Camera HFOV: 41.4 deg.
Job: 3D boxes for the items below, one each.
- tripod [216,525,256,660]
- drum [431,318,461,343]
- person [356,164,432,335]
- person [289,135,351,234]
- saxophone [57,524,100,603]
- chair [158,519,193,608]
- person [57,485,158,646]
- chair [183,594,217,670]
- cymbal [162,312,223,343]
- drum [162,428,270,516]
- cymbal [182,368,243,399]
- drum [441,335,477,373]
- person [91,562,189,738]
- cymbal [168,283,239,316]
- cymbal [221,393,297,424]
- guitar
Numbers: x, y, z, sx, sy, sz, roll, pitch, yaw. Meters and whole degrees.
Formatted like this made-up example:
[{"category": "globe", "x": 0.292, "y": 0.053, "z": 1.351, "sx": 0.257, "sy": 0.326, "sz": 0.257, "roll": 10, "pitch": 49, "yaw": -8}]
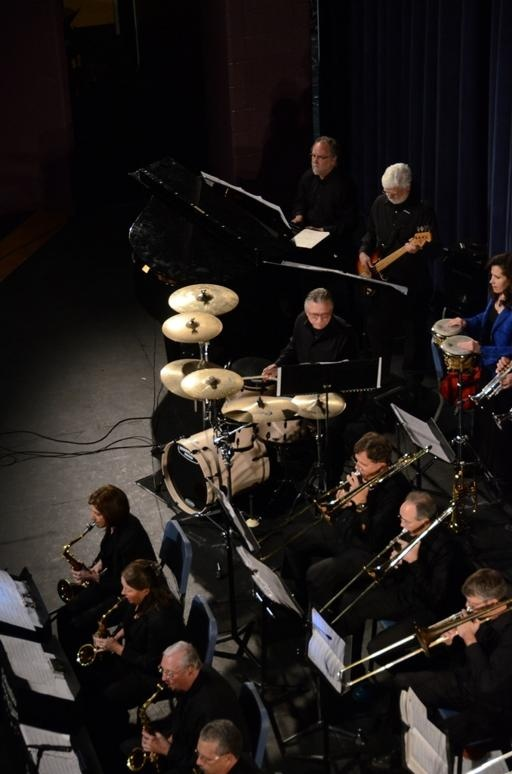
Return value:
[{"category": "tripod", "x": -0.116, "y": 1.190, "z": 3.946, "sx": 0.254, "sy": 0.696, "sz": 0.323, "roll": -6, "pitch": 25, "yaw": -19}, {"category": "drum", "x": 1.485, "y": -0.467, "z": 5.340, "sx": 0.196, "sy": 0.195, "sz": 0.200, "roll": 21, "pitch": 43, "yaw": 36}, {"category": "person", "x": 1.283, "y": -1.239, "z": 6.121, "sx": 0.653, "sy": 1.775, "sz": 0.563, "roll": -2, "pitch": 11, "yaw": -7}, {"category": "person", "x": 0.662, "y": -2.091, "z": 7.045, "sx": 0.680, "sy": 1.018, "sz": 0.532, "roll": 30, "pitch": 51, "yaw": 30}, {"category": "saxophone", "x": -1.123, "y": 1.176, "z": 4.349, "sx": 0.271, "sy": 0.546, "sz": 0.308, "roll": 4, "pitch": 9, "yaw": -33}, {"category": "chair", "x": -0.407, "y": 1.058, "z": 3.991, "sx": 0.218, "sy": 0.460, "sz": 0.269, "roll": -9, "pitch": 25, "yaw": -22}, {"category": "person", "x": -0.951, "y": 1.193, "z": 4.122, "sx": 0.684, "sy": 1.190, "sz": 0.399, "roll": -8, "pitch": 11, "yaw": -26}, {"category": "chair", "x": -0.264, "y": 1.187, "z": 3.299, "sx": 0.197, "sy": 0.330, "sz": 0.232, "roll": -4, "pitch": 24, "yaw": -12}, {"category": "cymbal", "x": -0.490, "y": -0.423, "z": 5.289, "sx": 0.439, "sy": 0.275, "sz": 0.321, "roll": -10, "pitch": 19, "yaw": -8}, {"category": "drum", "x": -0.326, "y": 0.539, "z": 5.012, "sx": 0.767, "sy": 0.679, "sz": 0.643, "roll": -13, "pitch": 23, "yaw": -38}, {"category": "cymbal", "x": -0.287, "y": -0.022, "z": 4.528, "sx": 0.264, "sy": 0.056, "sz": 0.254, "roll": -19, "pitch": 43, "yaw": -23}, {"category": "drum", "x": 1.497, "y": -0.249, "z": 5.116, "sx": 0.246, "sy": 0.267, "sz": 0.263, "roll": -14, "pitch": 40, "yaw": 1}, {"category": "person", "x": -0.621, "y": 1.290, "z": 3.557, "sx": 0.443, "sy": 0.823, "sz": 0.511, "roll": -11, "pitch": 26, "yaw": -29}, {"category": "cymbal", "x": -0.429, "y": -0.716, "z": 5.607, "sx": 0.556, "sy": 0.212, "sz": 0.446, "roll": -10, "pitch": 19, "yaw": -7}, {"category": "cymbal", "x": 0.021, "y": 0.150, "z": 4.772, "sx": 0.518, "sy": 0.123, "sz": 0.421, "roll": -9, "pitch": 19, "yaw": -4}, {"category": "guitar", "x": 1.233, "y": -1.213, "z": 6.099, "sx": 0.800, "sy": 0.431, "sz": 0.241, "roll": 11, "pitch": 26, "yaw": 44}]
